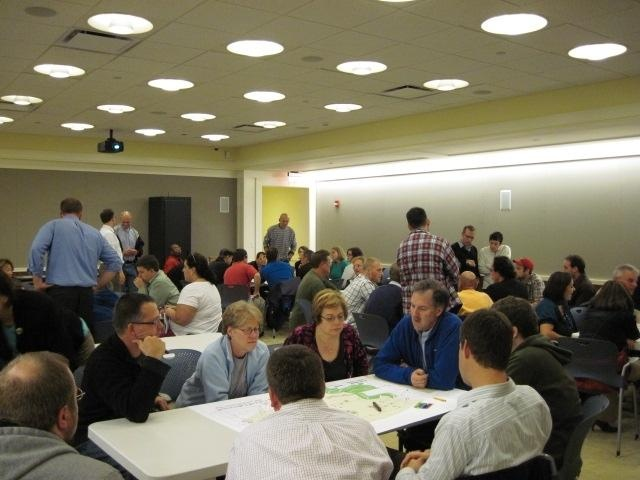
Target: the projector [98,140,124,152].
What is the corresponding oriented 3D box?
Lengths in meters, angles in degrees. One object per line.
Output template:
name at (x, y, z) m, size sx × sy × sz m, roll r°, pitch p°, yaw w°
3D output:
projector at (-4.079, -1.779, 9.403) m, size 0.320 × 0.197 × 0.305 m, roll -1°, pitch 3°, yaw -34°
